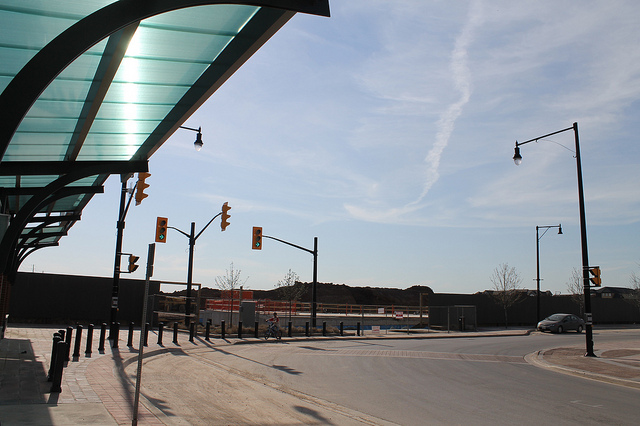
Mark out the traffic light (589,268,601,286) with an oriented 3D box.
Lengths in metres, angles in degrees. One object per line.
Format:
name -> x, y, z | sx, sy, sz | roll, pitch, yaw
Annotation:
traffic light -> 12.774, 2.920, 24.107 | 0.404, 0.733, 0.635 | -7, -16, 21

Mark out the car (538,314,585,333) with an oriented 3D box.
car -> 17.975, 8.133, 38.676 | 3.684, 1.390, 0.995 | 6, -16, -23

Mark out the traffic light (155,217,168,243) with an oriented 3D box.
traffic light -> -7.846, 0.791, 25.731 | 0.401, 1.240, 0.451 | 8, -17, -30

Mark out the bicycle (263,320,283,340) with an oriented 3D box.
bicycle -> -2.664, 6.589, 29.446 | 0.915, 1.038, 0.956 | 2, -15, -10
